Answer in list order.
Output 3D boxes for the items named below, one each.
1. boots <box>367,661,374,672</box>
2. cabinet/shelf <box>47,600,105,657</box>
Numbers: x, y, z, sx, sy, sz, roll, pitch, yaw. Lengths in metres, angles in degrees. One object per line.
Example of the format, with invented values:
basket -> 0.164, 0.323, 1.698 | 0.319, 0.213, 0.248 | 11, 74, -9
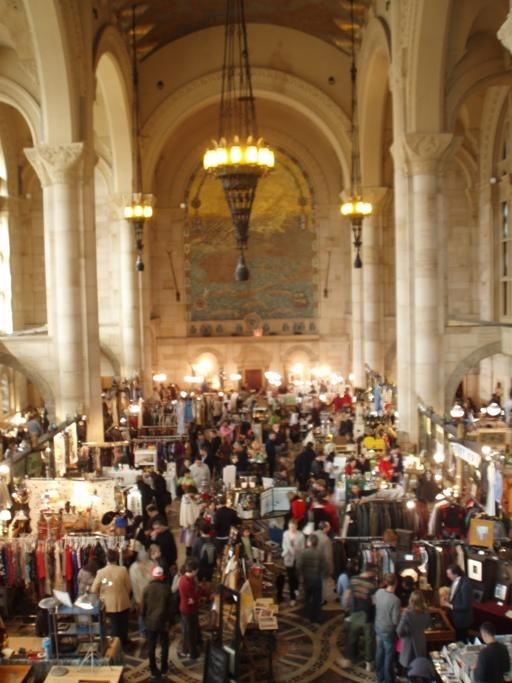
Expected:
boots -> 1.151, 3.319, 6.945 | 0.055, 0.087, 0.092 | -3, -16, 9
cabinet/shelf -> -1.672, 2.761, 6.514 | 0.433, 0.403, 0.332 | 0, -1, -3
